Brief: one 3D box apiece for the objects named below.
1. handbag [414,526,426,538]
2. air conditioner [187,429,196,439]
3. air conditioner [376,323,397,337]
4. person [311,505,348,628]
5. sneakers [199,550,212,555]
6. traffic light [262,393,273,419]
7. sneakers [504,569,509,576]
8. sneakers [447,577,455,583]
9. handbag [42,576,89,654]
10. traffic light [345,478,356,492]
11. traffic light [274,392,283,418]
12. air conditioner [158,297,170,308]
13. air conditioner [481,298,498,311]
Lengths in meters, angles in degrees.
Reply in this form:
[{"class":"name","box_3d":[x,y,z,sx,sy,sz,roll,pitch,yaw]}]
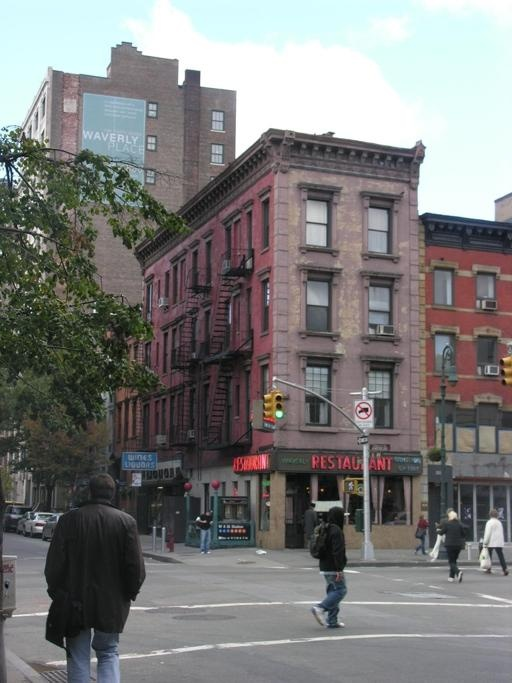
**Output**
[{"class":"handbag","box_3d":[4.674,5.502,36.346,0.307,0.363,0.507,-4,-6,32]},{"class":"air conditioner","box_3d":[-2.482,3.542,48.443,0.278,0.509,0.311,2,2,21]},{"class":"air conditioner","box_3d":[4.280,-0.386,41.484,0.545,0.395,0.400,2,23,-17]},{"class":"person","box_3d":[0.960,3.003,16.762,0.458,1.603,0.669,1,-10,3]},{"class":"sneakers","box_3d":[-1.490,6.193,37.070,0.338,0.188,0.132,-3,-5,12]},{"class":"traffic light","box_3d":[0.312,1.537,30.862,0.199,0.609,0.669,2,-11,-3]},{"class":"sneakers","box_3d":[5.655,5.154,28.232,0.083,0.129,0.261,-3,-15,-1]},{"class":"sneakers","box_3d":[4.000,4.837,25.590,0.086,0.104,0.205,0,-14,-2]},{"class":"handbag","box_3d":[-1.609,2.327,10.620,0.341,0.814,0.508,0,3,-13]},{"class":"traffic light","box_3d":[2.597,3.925,34.550,0.273,0.348,0.153,2,-5,-23]},{"class":"traffic light","box_3d":[0.536,1.521,30.515,0.170,0.580,0.186,3,-10,-10]},{"class":"air conditioner","box_3d":[-4.019,-1.733,54.752,0.330,0.521,0.612,0,0,-12]},{"class":"air conditioner","box_3d":[8.200,-1.311,44.055,0.619,0.395,0.481,4,-12,-13]}]
